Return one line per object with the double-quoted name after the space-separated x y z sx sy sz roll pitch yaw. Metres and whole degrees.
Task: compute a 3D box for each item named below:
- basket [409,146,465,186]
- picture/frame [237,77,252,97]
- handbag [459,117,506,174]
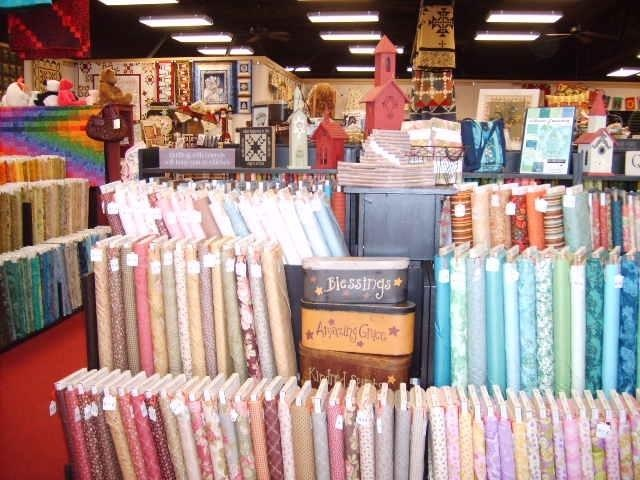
0.769 -0.497 3.929 0.270 0.199 0.154 1 6 3 "basket"
-1.346 -2.694 10.853 0.280 0.309 0.143 2 4 10 "picture/frame"
1.484 -0.818 5.540 0.438 0.506 0.226 5 -18 -24 "handbag"
